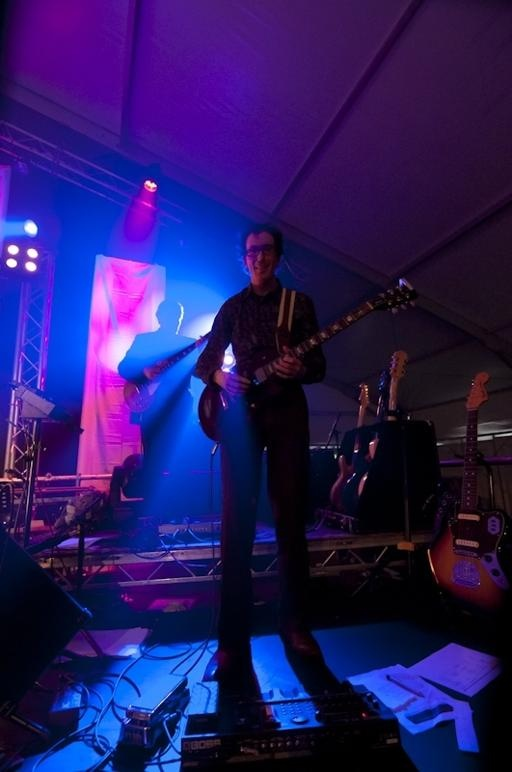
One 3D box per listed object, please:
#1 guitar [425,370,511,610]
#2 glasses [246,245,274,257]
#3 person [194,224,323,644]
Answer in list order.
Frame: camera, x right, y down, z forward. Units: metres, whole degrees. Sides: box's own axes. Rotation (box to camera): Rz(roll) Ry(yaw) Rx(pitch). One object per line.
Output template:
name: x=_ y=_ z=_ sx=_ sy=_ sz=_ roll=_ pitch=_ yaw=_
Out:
guitar: x=1.344 y=0.843 z=3.650 sx=0.239 sy=0.949 sz=0.566 roll=7 pitch=-8 yaw=-24
glasses: x=0.020 y=-0.658 z=2.883 sx=0.070 sy=0.021 sz=0.071 roll=-2 pitch=-30 yaw=8
person: x=0.003 y=0.161 z=2.773 sx=0.606 sy=1.934 sz=0.406 roll=3 pitch=-8 yaw=6
